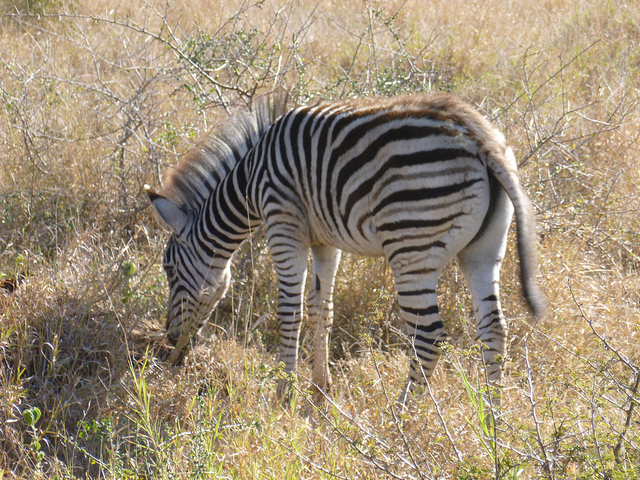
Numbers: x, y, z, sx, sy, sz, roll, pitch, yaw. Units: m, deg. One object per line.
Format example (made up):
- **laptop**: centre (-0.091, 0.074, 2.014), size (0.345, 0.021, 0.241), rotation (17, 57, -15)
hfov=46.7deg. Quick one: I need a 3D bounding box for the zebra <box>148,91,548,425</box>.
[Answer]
- **zebra**: centre (0.056, 0.133, 6.512), size (3.797, 1.061, 2.743), rotation (0, 95, 33)
